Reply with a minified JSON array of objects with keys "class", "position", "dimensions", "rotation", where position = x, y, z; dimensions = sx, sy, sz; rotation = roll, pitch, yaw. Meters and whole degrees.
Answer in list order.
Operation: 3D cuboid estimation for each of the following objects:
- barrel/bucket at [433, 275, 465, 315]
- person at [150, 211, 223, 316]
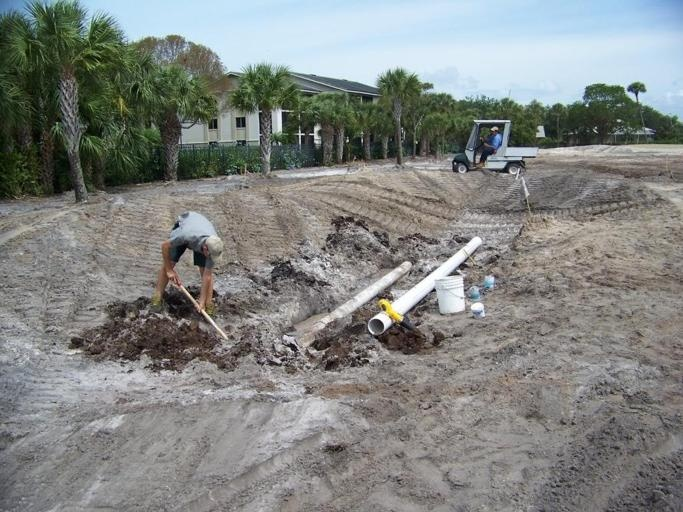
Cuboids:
[{"class":"barrel/bucket","position":[2.140,0.731,9.450],"dimensions":[0.635,0.715,0.684],"rotation":[-9,5,1]},{"class":"person","position":[-2.570,0.154,8.320],"dimensions":[1.293,1.740,0.697],"rotation":[0,14,5]}]
